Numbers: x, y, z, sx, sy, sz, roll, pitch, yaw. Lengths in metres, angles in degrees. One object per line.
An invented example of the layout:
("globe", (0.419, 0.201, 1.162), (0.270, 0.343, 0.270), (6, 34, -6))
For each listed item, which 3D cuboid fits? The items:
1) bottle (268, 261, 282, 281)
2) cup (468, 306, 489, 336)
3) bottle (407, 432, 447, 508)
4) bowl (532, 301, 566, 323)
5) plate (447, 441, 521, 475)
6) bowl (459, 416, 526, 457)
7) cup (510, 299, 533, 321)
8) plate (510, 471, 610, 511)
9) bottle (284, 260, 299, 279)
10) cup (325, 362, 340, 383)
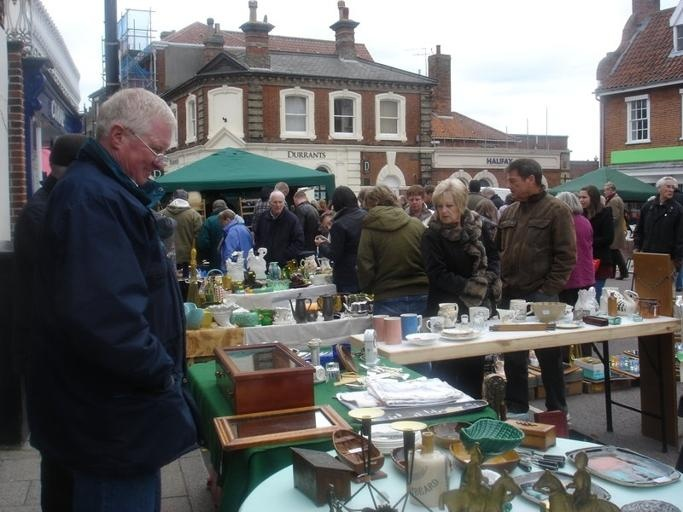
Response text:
("bottle", (-0.722, 0.168, 7.725), (0.175, 0.279, 0.156), (-1, -7, -3))
("cup", (1.029, 0.477, 5.321), (0.189, 0.206, 0.121), (0, -4, -24))
("bottle", (0.378, 0.909, 3.058), (0.165, 0.330, 0.175), (-1, 3, 0))
("bowl", (1.612, 0.438, 5.565), (0.169, 0.107, 0.169), (0, -3, 0))
("plate", (0.650, 0.921, 3.253), (0.318, 0.128, 0.181), (0, 4, 14))
("bowl", (0.665, 0.861, 3.322), (0.271, 0.119, 0.324), (9, -4, -11))
("cup", (1.446, 0.426, 5.709), (0.192, 0.182, 0.126), (-1, -1, -16))
("plate", (0.871, 0.948, 2.858), (0.259, 0.055, 0.346), (0, 1, -8))
("bottle", (-0.576, 0.150, 8.154), (0.143, 0.239, 0.226), (0, -8, -3))
("cup", (-0.056, 0.708, 4.356), (0.093, 0.145, 0.096), (-1, 4, 0))
